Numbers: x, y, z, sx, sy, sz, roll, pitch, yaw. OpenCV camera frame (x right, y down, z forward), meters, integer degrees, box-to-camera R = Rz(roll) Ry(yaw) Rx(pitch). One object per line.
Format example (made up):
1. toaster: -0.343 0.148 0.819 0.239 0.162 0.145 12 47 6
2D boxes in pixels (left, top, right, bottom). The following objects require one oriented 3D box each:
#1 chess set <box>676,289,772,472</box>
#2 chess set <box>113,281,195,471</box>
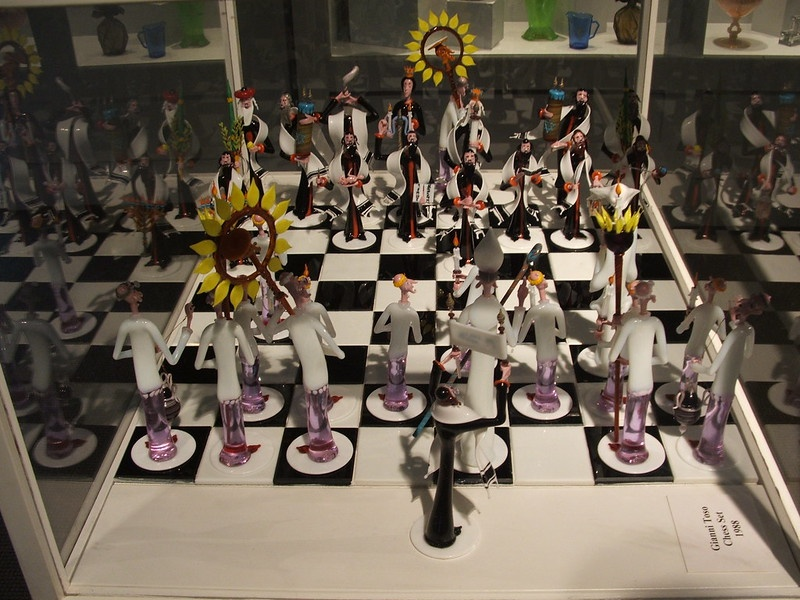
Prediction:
1. chess set: 1.292 0.310 2.367 0.236 0.707 0.203 5 23 18
2. chess set: -1.036 0.262 2.559 0.339 0.743 0.529 -11 24 -20
